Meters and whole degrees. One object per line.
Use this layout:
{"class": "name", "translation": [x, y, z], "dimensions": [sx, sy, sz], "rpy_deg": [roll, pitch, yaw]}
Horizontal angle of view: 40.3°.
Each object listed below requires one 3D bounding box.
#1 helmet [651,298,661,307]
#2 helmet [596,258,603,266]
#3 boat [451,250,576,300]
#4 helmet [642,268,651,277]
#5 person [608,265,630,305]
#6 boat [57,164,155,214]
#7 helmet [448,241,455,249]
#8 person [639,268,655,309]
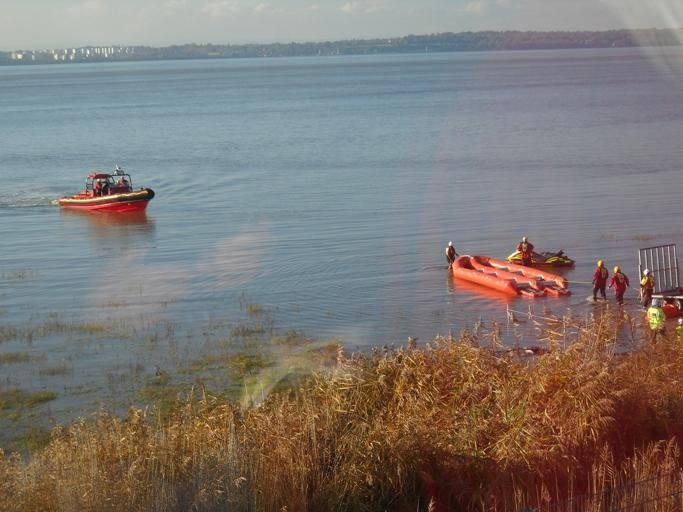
{"class": "helmet", "translation": [8.535, 1.289, 25.380], "dimensions": [0.180, 0.240, 0.217], "rpy_deg": [-3, -3, 29]}
{"class": "helmet", "translation": [8.400, 0.242, 30.371], "dimensions": [0.165, 0.230, 0.203], "rpy_deg": [16, 12, 38]}
{"class": "boat", "translation": [5.361, 0.746, 30.573], "dimensions": [1.474, 0.465, 3.005], "rpy_deg": [-4, 10, -29]}
{"class": "helmet", "translation": [9.180, 0.530, 28.131], "dimensions": [0.140, 0.163, 0.192], "rpy_deg": [-6, 41, 11]}
{"class": "person", "translation": [8.319, 0.896, 28.039], "dimensions": [0.509, 1.197, 0.882], "rpy_deg": [3, 15, 18]}
{"class": "boat", "translation": [-11.134, -3.145, 45.551], "dimensions": [5.190, 2.461, 2.117], "rpy_deg": [2, 5, 30]}
{"class": "helmet", "translation": [4.048, -0.358, 33.985], "dimensions": [0.156, 0.147, 0.322], "rpy_deg": [-12, -10, 9]}
{"class": "person", "translation": [8.936, 0.996, 27.340], "dimensions": [0.356, 1.111, 0.988], "rpy_deg": [3, 15, 19]}
